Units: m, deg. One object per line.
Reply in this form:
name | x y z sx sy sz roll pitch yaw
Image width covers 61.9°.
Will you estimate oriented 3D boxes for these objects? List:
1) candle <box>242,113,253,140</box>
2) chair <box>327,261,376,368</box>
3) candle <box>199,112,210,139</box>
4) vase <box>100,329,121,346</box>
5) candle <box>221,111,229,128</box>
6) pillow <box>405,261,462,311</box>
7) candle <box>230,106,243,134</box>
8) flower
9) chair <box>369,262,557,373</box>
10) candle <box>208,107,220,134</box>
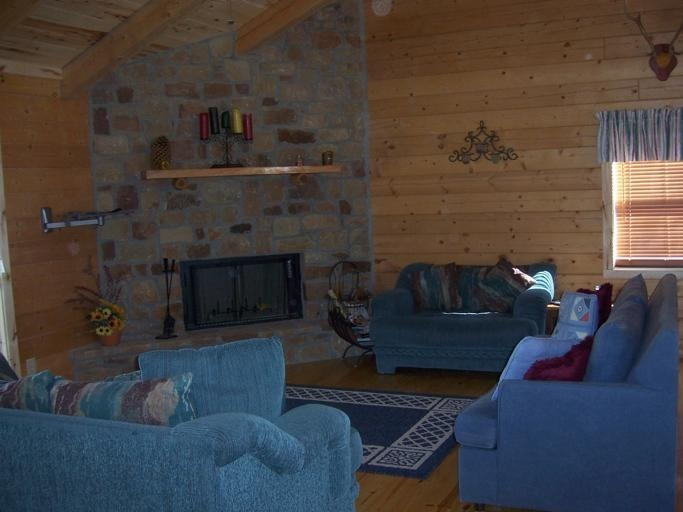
candle | -0.959 -1.309 5.755 0.094 0.280 0.108 -5 7 -13
chair | 0.070 0.468 5.971 0.500 0.827 1.042 -3 6 3
candle | -1.382 -1.293 5.675 0.109 0.271 0.157 -5 7 -13
vase | -2.195 0.761 5.373 0.176 0.151 0.151 -6 7 -23
candle | -1.201 -1.376 5.762 0.110 0.172 0.106 -2 7 6
pillow | 0.951 0.326 5.687 0.469 0.448 0.139 -2 -17 6
candle | -1.074 -1.371 5.766 0.127 0.253 0.221 -4 7 -12
flower | -2.343 0.422 5.420 0.495 0.673 0.419 -5 7 -20
chair | 1.163 0.584 5.563 1.531 0.937 1.167 -2 4 25
candle | -1.295 -1.360 5.743 0.083 0.265 0.190 -3 7 -2
